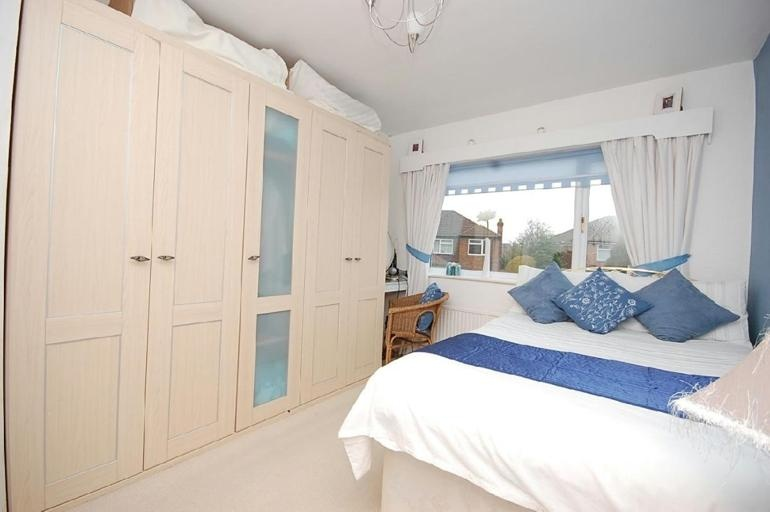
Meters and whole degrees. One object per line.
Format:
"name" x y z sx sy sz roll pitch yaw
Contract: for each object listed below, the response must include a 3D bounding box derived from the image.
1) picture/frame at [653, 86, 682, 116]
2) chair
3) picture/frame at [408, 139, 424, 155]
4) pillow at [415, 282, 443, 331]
"picture/frame" 2.505 -1.357 4.276 0.217 0.211 0.086 2 4 29
"chair" 0.255 0.716 5.225 0.718 0.918 0.771 2 -7 -8
"picture/frame" 0.376 -1.268 5.679 0.192 0.183 0.014 -24 -21 37
"pillow" 0.461 0.531 5.035 0.127 0.409 0.434 18 -13 -7
